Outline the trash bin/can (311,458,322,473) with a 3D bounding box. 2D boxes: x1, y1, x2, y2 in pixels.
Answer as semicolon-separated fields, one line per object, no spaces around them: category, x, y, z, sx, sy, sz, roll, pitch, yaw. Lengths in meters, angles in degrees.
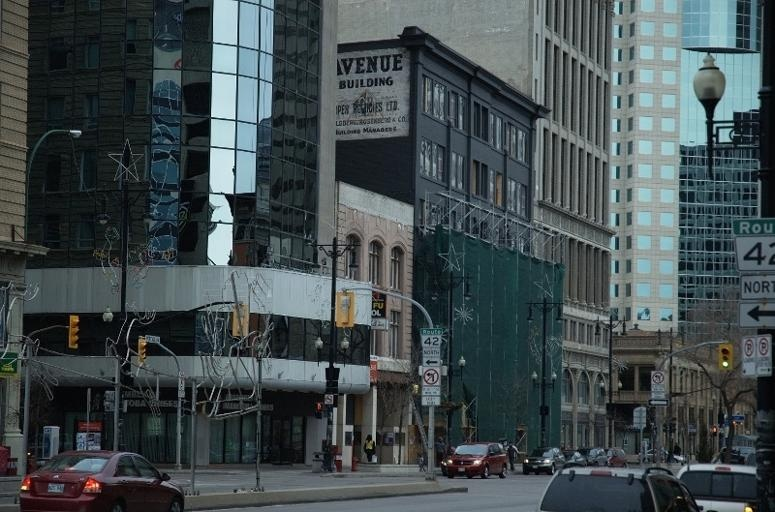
trash bin/can;-4.688;14.378;120.382;0.753;0.878;0.759;11;-16;-37
